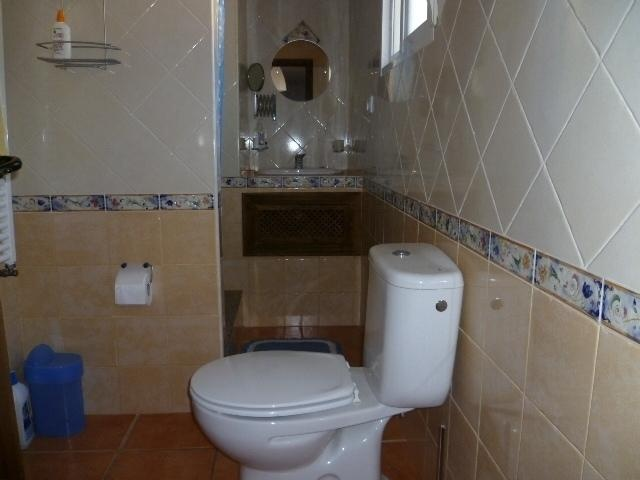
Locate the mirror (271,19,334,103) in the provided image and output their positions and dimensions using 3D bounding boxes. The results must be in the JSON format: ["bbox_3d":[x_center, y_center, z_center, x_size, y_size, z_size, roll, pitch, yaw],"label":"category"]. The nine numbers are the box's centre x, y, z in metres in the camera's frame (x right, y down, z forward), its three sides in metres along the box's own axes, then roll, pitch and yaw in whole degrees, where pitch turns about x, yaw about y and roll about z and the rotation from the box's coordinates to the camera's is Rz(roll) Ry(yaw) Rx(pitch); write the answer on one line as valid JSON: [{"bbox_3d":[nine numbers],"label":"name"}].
[{"bbox_3d":[-0.118,-1.176,3.514,0.387,0.646,0.018,1,-24,-1],"label":"mirror"}]

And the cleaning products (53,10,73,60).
[{"bbox_3d":[-1.018,-0.808,2.049,0.069,0.186,0.067,-3,10,-18],"label":"cleaning products"}]

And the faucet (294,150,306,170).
[{"bbox_3d":[-0.127,-0.540,3.472,0.076,0.114,0.140,0,11,-2],"label":"faucet"}]

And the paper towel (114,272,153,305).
[{"bbox_3d":[-0.799,0.201,2.279,0.121,0.170,0.140,0,7,1],"label":"paper towel"}]
